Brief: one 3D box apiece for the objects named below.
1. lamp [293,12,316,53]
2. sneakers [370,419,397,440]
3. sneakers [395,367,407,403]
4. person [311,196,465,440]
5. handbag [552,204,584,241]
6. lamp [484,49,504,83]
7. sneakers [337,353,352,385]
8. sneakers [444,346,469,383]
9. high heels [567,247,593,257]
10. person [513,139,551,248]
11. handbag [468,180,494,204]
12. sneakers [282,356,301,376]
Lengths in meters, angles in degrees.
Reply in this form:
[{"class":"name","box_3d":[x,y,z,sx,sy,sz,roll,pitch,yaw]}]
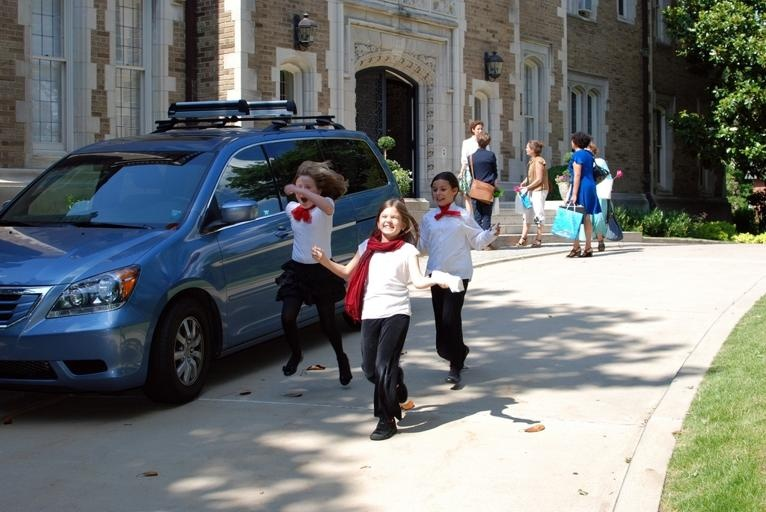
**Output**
[{"class":"lamp","box_3d":[-1.881,-5.601,15.396,0.539,0.930,0.430,-5,7,-35]},{"class":"sneakers","box_3d":[0.008,1.346,4.831,0.098,0.099,0.240,-1,-4,28]},{"class":"sneakers","box_3d":[0.156,1.077,5.130,0.107,0.125,0.307,-3,-34,1]},{"class":"person","box_3d":[0.006,0.453,5.115,0.899,1.860,0.879,-2,6,-14]},{"class":"handbag","box_3d":[3.923,-0.719,13.095,0.582,0.695,0.320,1,6,16]},{"class":"lamp","box_3d":[3.633,-6.128,19.864,0.500,0.982,0.709,5,8,41]},{"class":"sneakers","box_3d":[-0.372,1.095,6.119,0.126,0.318,0.134,-1,-8,0]},{"class":"sneakers","box_3d":[0.725,1.114,6.188,0.157,0.193,0.467,1,2,21]},{"class":"high heels","box_3d":[4.239,-0.106,13.326,0.525,0.167,0.200,0,3,13]},{"class":"person","box_3d":[3.654,-1.506,15.047,0.719,2.504,1.378,1,6,14]},{"class":"handbag","box_3d":[2.091,-1.377,13.072,0.551,0.369,0.241,11,0,15]},{"class":"sneakers","box_3d":[-0.921,1.080,6.257,0.124,0.120,0.322,1,11,16]}]
